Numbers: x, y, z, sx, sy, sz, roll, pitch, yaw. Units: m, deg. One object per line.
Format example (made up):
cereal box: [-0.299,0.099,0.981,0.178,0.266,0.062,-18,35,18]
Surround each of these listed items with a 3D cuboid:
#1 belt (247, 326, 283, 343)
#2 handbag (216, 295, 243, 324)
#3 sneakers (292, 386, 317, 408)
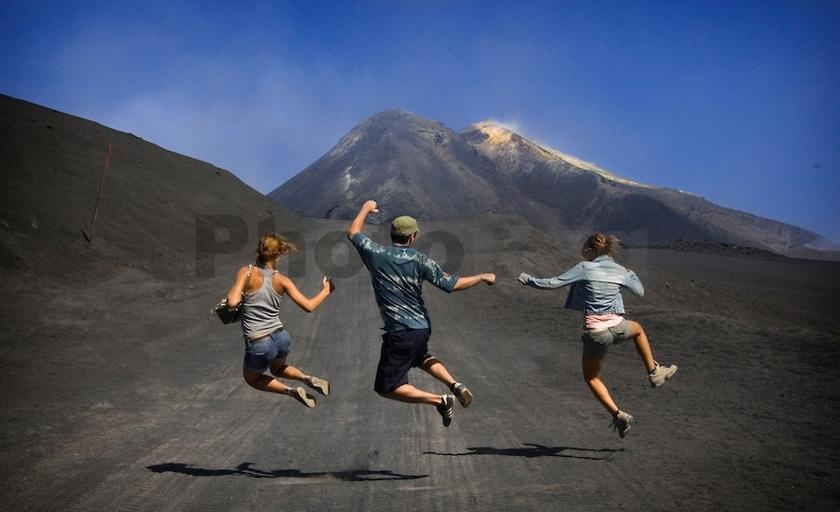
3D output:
belt: [-2.448,1.249,9.575,0.344,0.079,0.329,-12,6,-21]
handbag: [-3.054,0.876,9.576,0.397,0.469,0.654,3,3,-16]
sneakers: [-1.920,2.304,9.968,0.459,0.246,0.164,36,13,-7]
